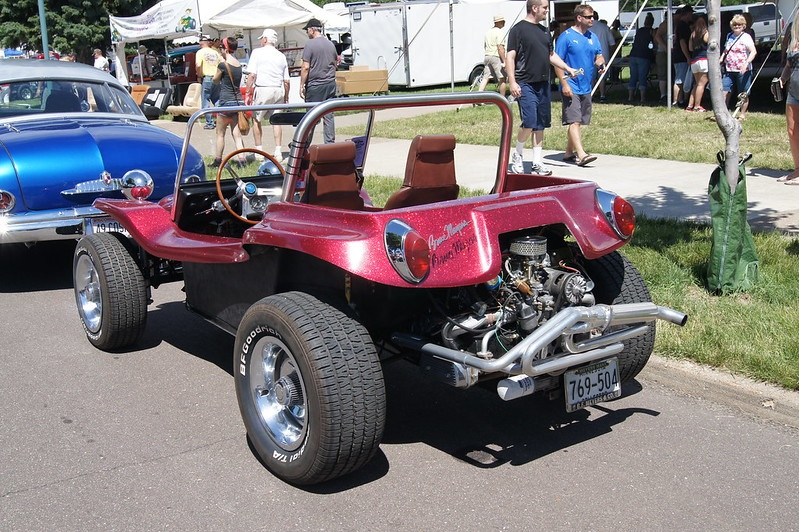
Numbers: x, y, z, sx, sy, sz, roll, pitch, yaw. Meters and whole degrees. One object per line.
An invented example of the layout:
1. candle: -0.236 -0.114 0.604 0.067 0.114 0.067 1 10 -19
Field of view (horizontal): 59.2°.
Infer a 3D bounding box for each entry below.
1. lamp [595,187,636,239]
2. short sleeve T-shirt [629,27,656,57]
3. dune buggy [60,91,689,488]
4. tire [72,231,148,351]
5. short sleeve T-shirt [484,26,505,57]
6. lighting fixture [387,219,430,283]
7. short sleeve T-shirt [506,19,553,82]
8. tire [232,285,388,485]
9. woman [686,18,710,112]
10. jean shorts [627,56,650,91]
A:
1. lamp: 1.532 -0.373 4.946 0.316 0.330 0.083 -13 -4 -36
2. short sleeve T-shirt: 6.641 -6.087 19.141 0.531 0.798 1.082 8 19 19
3. dune buggy: -0.579 -0.306 5.618 2.577 2.155 4.489 -11 19 -43
4. tire: -2.563 0.223 6.262 0.299 0.998 0.847 -11 17 -38
5. short sleeve T-shirt: 2.539 -5.905 18.495 0.427 0.723 0.997 -3 19 -12
6. lighting fixture: 0.033 -0.088 4.385 0.288 0.354 0.172 13 22 32
7. short sleeve T-shirt: 2.009 -3.323 10.907 0.666 0.934 0.464 3 18 7
8. tire: -0.605 0.795 4.606 1.092 1.145 0.454 13 22 33
9. woman: 6.987 -4.696 16.347 0.556 2.139 1.579 8 19 20
10. jean shorts: 6.567 -5.259 19.207 0.598 0.889 0.476 -8 20 -24
